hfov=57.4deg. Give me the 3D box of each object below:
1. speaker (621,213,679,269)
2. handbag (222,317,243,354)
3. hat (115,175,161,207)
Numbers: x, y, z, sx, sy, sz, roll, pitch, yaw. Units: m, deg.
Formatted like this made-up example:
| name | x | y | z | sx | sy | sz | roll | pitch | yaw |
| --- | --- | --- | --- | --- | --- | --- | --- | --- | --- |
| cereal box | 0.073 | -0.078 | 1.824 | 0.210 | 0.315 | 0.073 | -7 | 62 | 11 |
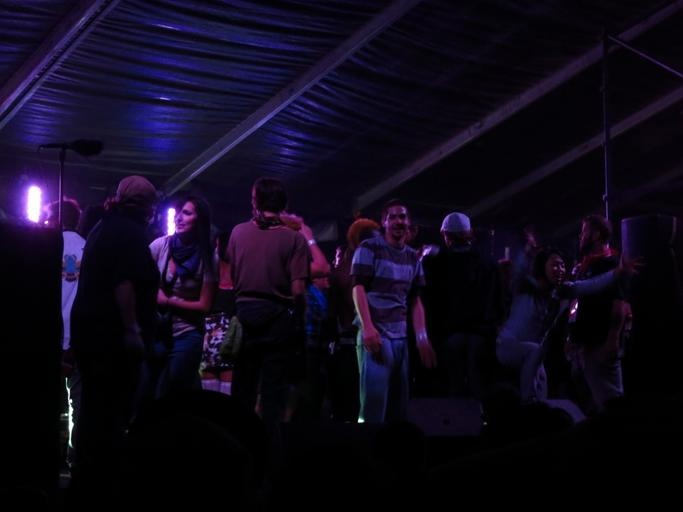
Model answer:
| name | x | y | z | sx | sy | sz | roll | pitch | yaw |
| --- | --- | --- | --- | --- | --- | --- | --- | --- | --- |
| speaker | 2.274 | -0.102 | 4.587 | 0.387 | 0.327 | 0.307 | 9 | -12 | -37 |
| handbag | -0.739 | 0.542 | 4.207 | 0.119 | 0.310 | 0.092 | -2 | -38 | 6 |
| hat | -1.257 | -0.395 | 3.833 | 0.162 | 0.178 | 0.227 | 7 | 4 | 2 |
